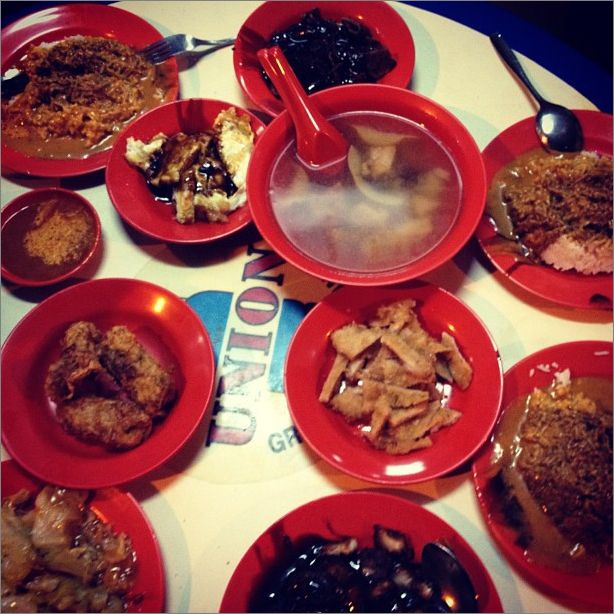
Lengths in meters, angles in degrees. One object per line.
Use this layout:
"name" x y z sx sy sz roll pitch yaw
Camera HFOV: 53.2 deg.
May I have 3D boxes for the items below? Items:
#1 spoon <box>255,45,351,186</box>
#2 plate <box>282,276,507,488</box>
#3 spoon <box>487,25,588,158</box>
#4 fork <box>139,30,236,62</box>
"spoon" 0.000 -0.475 1.564 0.129 0.127 0.400 -21 94 7
"plate" 0.205 0.183 1.478 0.513 0.144 0.483 -2 63 0
"spoon" 0.638 -0.607 1.734 0.098 0.058 0.512 -27 75 11
"fork" -0.363 -0.787 1.849 0.333 0.049 0.053 -21 98 -27
